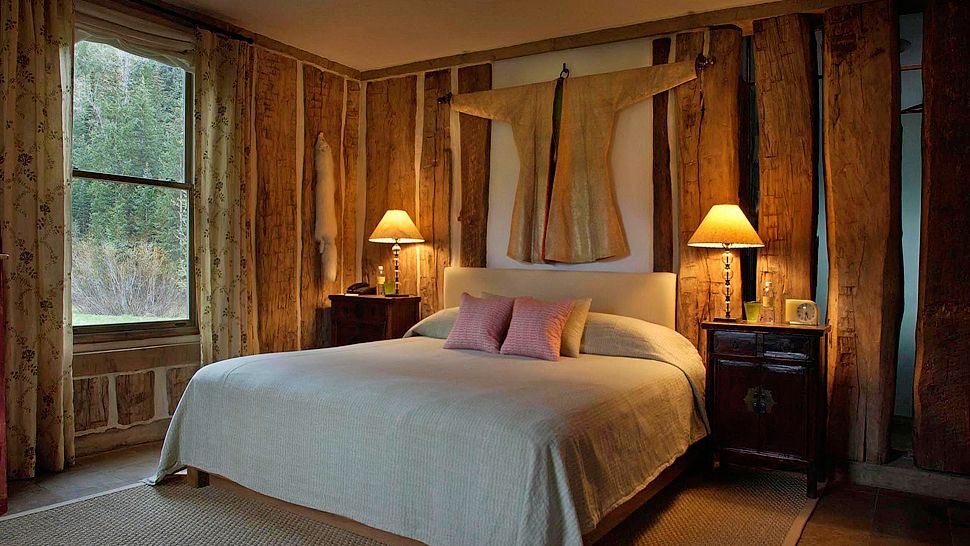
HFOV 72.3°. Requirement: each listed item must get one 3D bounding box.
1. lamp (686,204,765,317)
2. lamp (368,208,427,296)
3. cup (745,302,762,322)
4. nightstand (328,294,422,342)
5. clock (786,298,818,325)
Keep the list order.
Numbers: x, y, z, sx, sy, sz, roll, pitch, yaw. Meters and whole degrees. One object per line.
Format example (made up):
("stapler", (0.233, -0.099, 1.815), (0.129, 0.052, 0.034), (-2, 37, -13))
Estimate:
("lamp", (2.233, -0.124, 6.176), (0.621, 1.083, 0.514), (2, 2, 22))
("lamp", (-0.998, -0.191, 7.513), (0.648, 0.883, 0.613), (1, -7, -10))
("cup", (2.437, 0.359, 6.046), (0.176, 0.191, 0.176), (0, -3, 0))
("nightstand", (-1.294, 0.613, 7.486), (0.796, 0.697, 0.578), (4, 0, 20))
("clock", (2.825, 0.366, 6.017), (0.366, 0.293, 0.200), (-1, -7, 26))
